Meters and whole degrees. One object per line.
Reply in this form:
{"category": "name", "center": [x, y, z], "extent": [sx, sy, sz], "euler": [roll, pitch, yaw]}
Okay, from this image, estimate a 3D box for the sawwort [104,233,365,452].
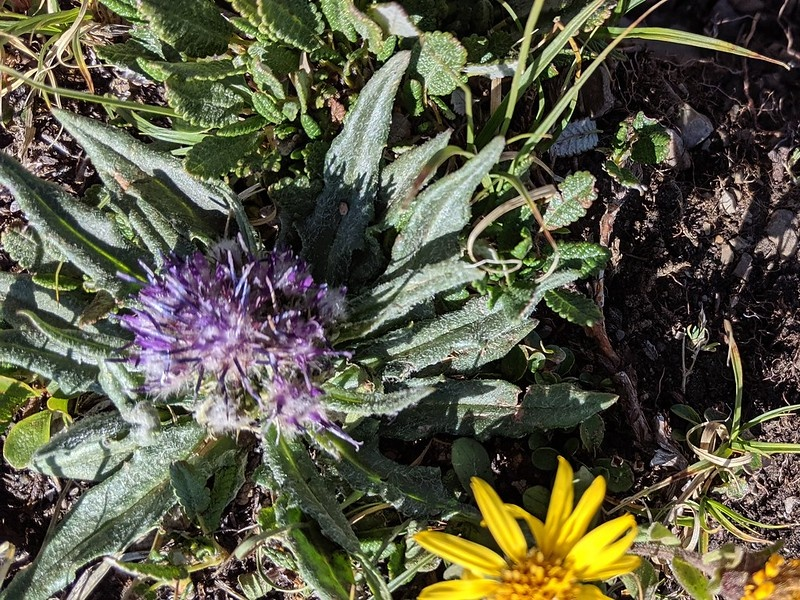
{"category": "sawwort", "center": [-0.368, 0.114, 1.774], "extent": [0.525, 0.289, 0.443], "euler": [43, 87, -5]}
